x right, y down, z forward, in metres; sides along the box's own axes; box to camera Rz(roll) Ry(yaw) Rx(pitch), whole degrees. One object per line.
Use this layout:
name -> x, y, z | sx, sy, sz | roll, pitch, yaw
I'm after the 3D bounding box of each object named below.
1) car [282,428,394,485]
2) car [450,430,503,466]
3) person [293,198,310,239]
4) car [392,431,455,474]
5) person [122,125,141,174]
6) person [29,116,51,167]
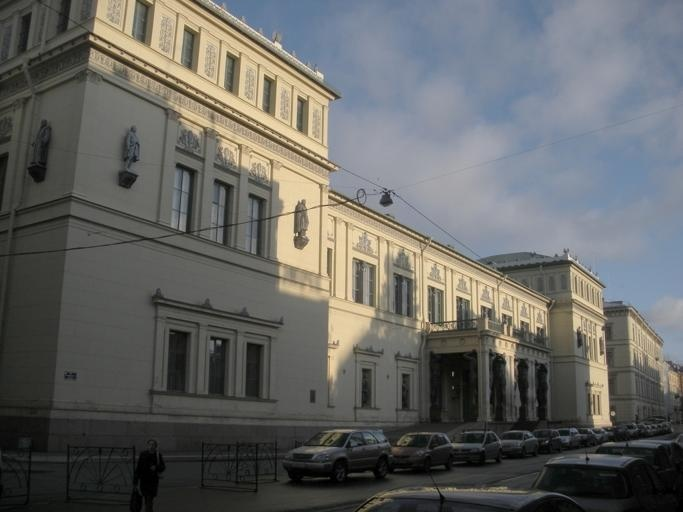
car -> -0.105, 8.054, 28.507 | 1.623, 2.251, 4.543 | -20, -28, 41
car -> 7.004, 10.049, 37.026 | 1.511, 1.820, 3.565 | -16, -26, 34
person -> -2.264, -2.116, 38.809 | 0.882, 2.201, 0.447 | 6, -21, -18
car -> 3.646, 9.108, 32.813 | 1.450, 1.897, 3.604 | -19, -28, 39
person -> -9.226, -4.661, 30.656 | 0.714, 2.133, 0.477 | 15, -25, -38
person -> -12.824, -4.861, 30.014 | 0.634, 2.258, 0.454 | 6, -21, -20
